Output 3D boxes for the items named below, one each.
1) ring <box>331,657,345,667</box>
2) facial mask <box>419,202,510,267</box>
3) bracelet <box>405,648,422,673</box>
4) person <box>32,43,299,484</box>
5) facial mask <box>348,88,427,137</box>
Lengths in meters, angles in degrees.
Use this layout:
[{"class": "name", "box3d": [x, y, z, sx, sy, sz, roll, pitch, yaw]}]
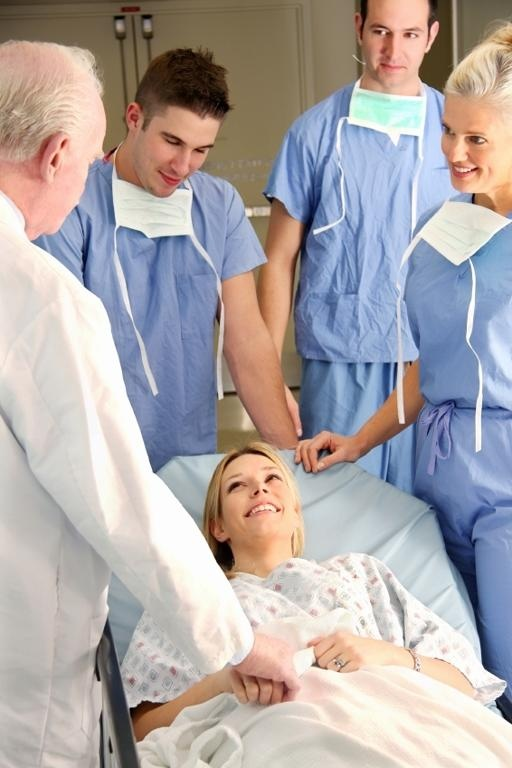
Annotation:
[{"class": "ring", "box3d": [0.143, 0.483, 1.182, 0.020, 0.011, 0.015, 2, 23, 7]}, {"class": "facial mask", "box3d": [0.486, -0.368, 1.598, 0.160, 0.146, 0.208, -13, 23, -27]}, {"class": "bracelet", "box3d": [0.291, 0.504, 1.250, 0.022, 0.035, 0.034, 3, 40, -1]}, {"class": "person", "box3d": [-0.297, -0.223, 2.069, 0.629, 1.340, 0.523, -9, 22, -28]}, {"class": "facial mask", "box3d": [0.430, -0.873, 2.245, 0.231, 0.154, 0.134, -8, 21, -13]}]
